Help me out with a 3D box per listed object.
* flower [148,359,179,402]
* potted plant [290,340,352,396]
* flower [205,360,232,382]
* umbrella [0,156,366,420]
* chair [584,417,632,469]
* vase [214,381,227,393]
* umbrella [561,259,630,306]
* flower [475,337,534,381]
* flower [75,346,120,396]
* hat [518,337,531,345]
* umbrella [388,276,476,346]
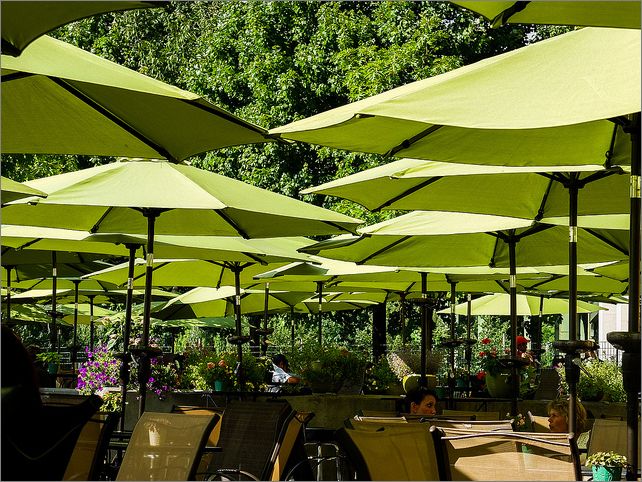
[{"bbox_3d":[-1.825,1.604,10.344,0.341,0.240,0.318,-3,-13,-37],"label":"flower"},{"bbox_3d":[-0.022,1.843,12.820,0.662,0.397,0.761,6,-4,-20],"label":"potted plant"},{"bbox_3d":[-1.203,1.516,10.492,0.269,0.182,0.270,0,-5,40],"label":"flower"},{"bbox_3d":[-1.321,0.205,8.916,2.896,1.768,2.799,2,0,10],"label":"umbrella"},{"bbox_3d":[2.279,1.590,7.155,0.302,0.375,0.321,2,-10,5],"label":"chair"},{"bbox_3d":[-1.175,1.681,10.398,0.117,0.081,0.114,-1,-11,3],"label":"vase"},{"bbox_3d":[3.569,0.520,11.646,1.008,0.391,0.994,-3,-43,12],"label":"umbrella"},{"bbox_3d":[2.315,1.476,11.293,0.857,0.538,0.834,1,-7,2],"label":"flower"},{"bbox_3d":[-2.618,1.539,10.572,0.683,0.640,0.552,5,-15,-6],"label":"flower"},{"bbox_3d":[2.951,1.462,13.090,0.201,0.097,0.136,-6,-2,-27],"label":"hat"},{"bbox_3d":[2.018,1.319,16.905,1.944,1.541,1.756,1,-12,0],"label":"umbrella"}]
